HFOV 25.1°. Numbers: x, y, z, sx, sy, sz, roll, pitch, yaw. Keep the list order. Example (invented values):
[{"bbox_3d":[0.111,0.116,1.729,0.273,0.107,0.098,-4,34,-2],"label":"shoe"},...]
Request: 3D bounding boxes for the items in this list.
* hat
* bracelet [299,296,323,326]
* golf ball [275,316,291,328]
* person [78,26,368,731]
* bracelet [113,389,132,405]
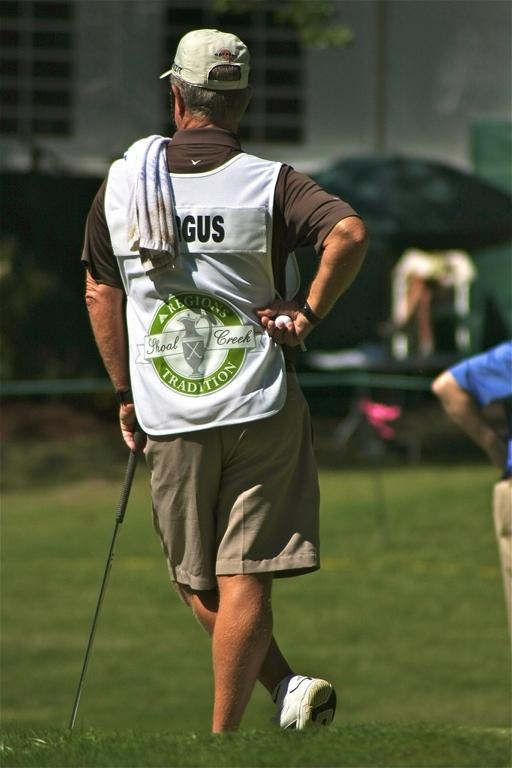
[{"bbox_3d":[-0.104,-0.809,2.856,0.144,0.087,0.192,-5,21,-19],"label":"hat"},{"bbox_3d":[0.144,-0.184,2.855,0.023,0.058,0.050,-42,-25,31],"label":"bracelet"},{"bbox_3d":[0.068,-0.155,2.824,0.034,0.029,0.030,1,-18,3],"label":"golf ball"},{"bbox_3d":[-0.087,-0.029,2.965,0.475,1.768,0.669,-6,7,-36],"label":"person"},{"bbox_3d":[-0.357,0.033,3.088,0.046,0.026,0.042,-3,-1,-12],"label":"bracelet"}]
